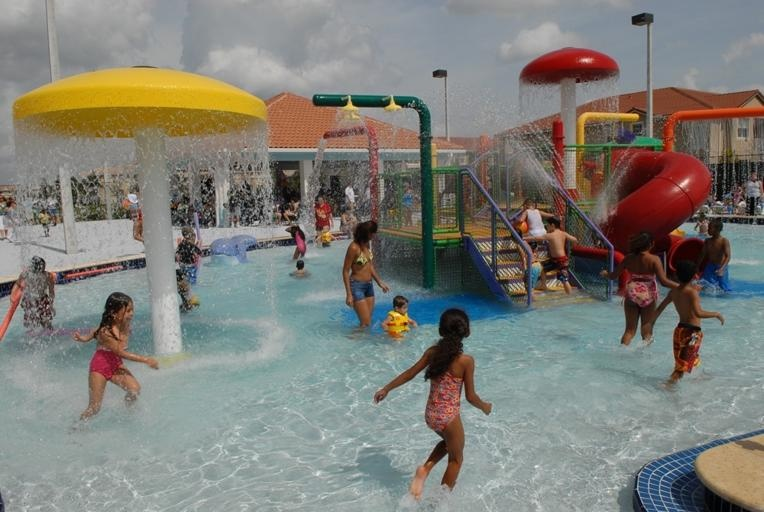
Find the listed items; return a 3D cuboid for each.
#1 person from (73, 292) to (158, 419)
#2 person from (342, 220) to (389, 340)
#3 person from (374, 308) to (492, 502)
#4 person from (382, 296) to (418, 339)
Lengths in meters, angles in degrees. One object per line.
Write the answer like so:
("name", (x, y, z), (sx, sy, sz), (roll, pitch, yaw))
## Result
("person", (-3.543, 1.279, 7.952), (0.864, 1.574, 0.421), (-5, 8, -5))
("person", (-0.309, 0.359, 10.390), (0.675, 1.936, 0.938), (-4, 8, 0))
("person", (0.672, 1.600, 6.531), (0.992, 2.028, 0.385), (-4, 8, 1))
("person", (0.275, 1.200, 10.213), (0.524, 1.048, 0.338), (-20, 29, -41))
